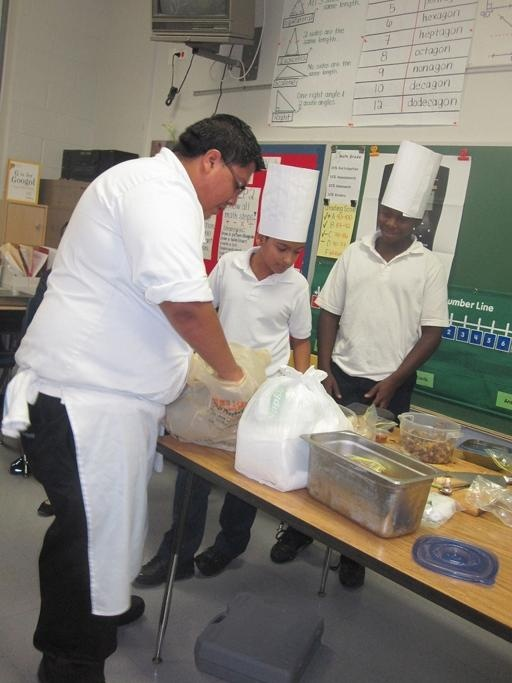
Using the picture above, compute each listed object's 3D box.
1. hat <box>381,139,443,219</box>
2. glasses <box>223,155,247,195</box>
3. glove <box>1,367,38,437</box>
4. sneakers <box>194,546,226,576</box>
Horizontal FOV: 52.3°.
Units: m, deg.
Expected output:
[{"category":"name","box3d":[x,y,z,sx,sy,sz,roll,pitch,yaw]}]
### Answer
[{"category":"hat","box3d":[0.667,-0.699,2.242,0.207,0.284,0.099,9,5,7]},{"category":"glasses","box3d":[-0.057,-0.392,1.196,0.017,0.056,0.055,-18,-14,8]},{"category":"glove","box3d":[-0.499,0.140,1.099,0.063,0.165,0.137,7,5,-24]},{"category":"sneakers","box3d":[-0.187,0.882,2.118,0.081,0.121,0.131,5,3,-19]}]
